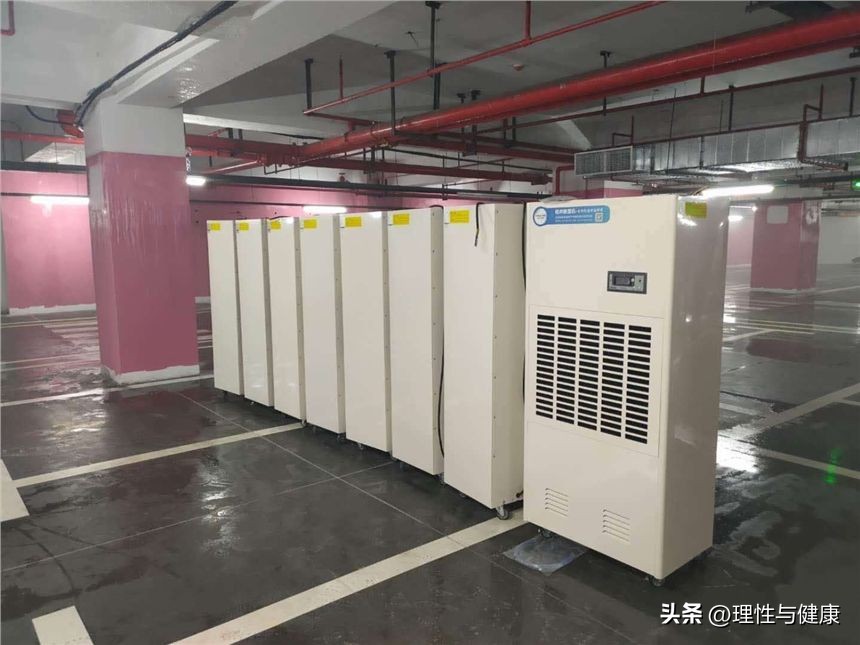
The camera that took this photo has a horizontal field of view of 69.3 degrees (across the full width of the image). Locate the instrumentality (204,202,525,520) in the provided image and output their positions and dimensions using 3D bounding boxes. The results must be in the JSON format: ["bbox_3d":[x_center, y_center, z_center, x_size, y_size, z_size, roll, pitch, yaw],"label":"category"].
[{"bbox_3d":[-0.677,0.487,6.765,0.611,1.791,3.489,-11,13,-42],"label":"instrumentality"}]
